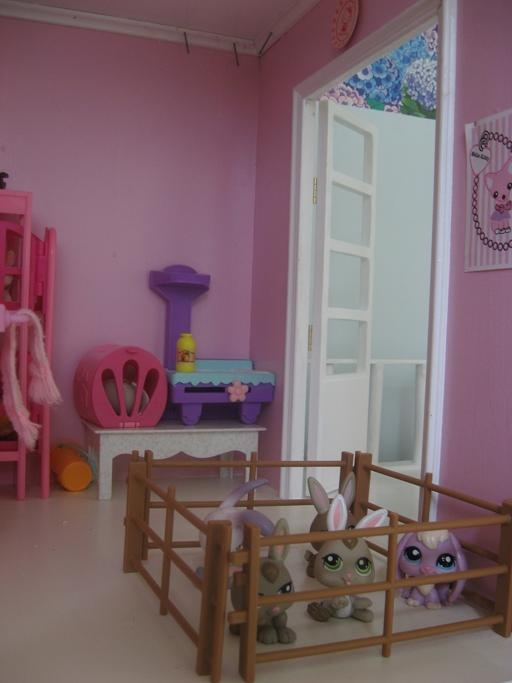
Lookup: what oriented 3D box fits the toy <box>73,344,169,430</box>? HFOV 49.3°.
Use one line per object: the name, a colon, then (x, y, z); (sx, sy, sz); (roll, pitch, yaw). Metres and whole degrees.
toy: (-0.654, 0.209, 2.604); (0.313, 0.379, 0.393); (5, -3, -30)
